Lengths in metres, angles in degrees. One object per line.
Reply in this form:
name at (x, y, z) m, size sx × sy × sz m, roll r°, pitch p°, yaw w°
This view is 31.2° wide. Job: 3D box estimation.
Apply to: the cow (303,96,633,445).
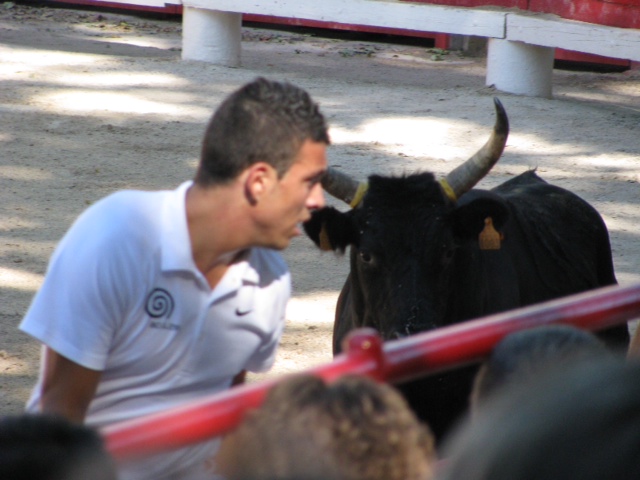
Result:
cow at (0.840, 0.231, 7.470) m, size 1.448 × 2.165 × 3.345 m, roll -6°, pitch 8°, yaw 14°
